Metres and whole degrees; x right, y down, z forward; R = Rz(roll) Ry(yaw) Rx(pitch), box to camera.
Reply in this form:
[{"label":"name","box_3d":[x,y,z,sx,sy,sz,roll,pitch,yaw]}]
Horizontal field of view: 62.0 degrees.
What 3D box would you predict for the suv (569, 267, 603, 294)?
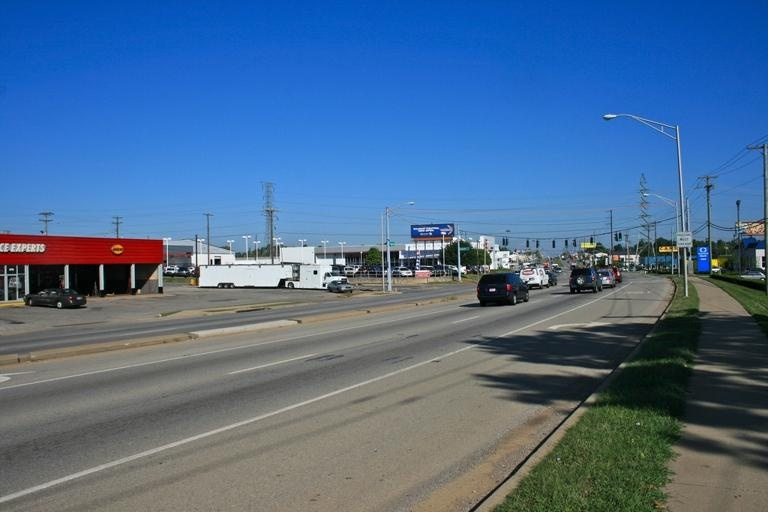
[{"label":"suv","box_3d":[14.936,1.714,46.656,1.529,1.094,3.128,0,2,26]}]
